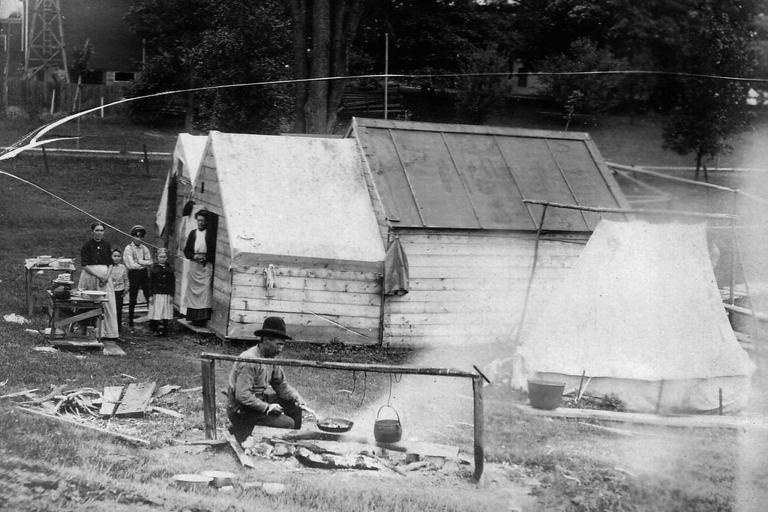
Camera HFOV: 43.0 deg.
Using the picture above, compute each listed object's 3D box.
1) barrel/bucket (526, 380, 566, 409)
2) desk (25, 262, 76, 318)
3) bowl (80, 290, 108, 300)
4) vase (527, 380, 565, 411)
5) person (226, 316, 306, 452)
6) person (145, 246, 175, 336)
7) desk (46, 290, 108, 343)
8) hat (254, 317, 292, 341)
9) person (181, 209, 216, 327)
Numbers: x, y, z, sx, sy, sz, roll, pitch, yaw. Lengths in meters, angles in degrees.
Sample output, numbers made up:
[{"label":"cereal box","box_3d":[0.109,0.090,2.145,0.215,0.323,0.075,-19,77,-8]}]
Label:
[{"label":"barrel/bucket","box_3d":[3.594,3.065,21.627,0.723,0.420,0.673,3,-7,0]},{"label":"desk","box_3d":[-8.704,0.723,24.968,1.247,0.983,1.149,-1,7,-19]},{"label":"bowl","box_3d":[-6.867,0.922,22.763,0.580,0.209,0.474,-1,6,-17]},{"label":"vase","box_3d":[3.544,3.089,21.591,0.738,0.441,0.705,6,-9,-26]},{"label":"person","box_3d":[-2.296,2.339,18.542,0.887,2.348,1.200,7,9,40]},{"label":"person","box_3d":[-5.674,0.932,24.508,0.602,2.091,0.480,-1,7,-12]},{"label":"desk","box_3d":[-7.360,1.512,23.024,1.358,0.812,1.496,7,0,-30]},{"label":"hat","box_3d":[-2.138,1.390,18.470,0.653,0.261,0.548,11,-5,-10]},{"label":"person","box_3d":[-4.681,0.264,24.649,0.810,2.777,0.309,0,7,-7]}]
